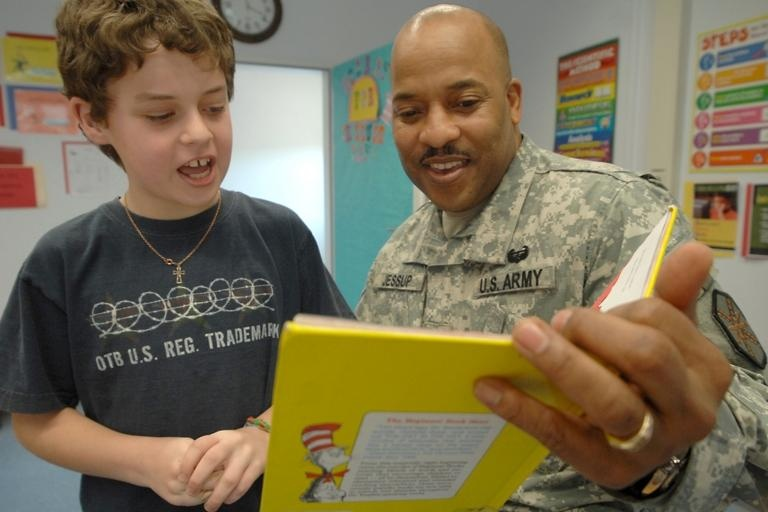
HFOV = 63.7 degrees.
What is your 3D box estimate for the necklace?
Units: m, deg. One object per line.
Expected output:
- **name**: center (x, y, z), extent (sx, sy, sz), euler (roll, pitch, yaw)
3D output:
- **necklace**: center (-0.591, -0.061, 1.748), extent (0.220, 0.287, 0.017), euler (2, -25, -34)
